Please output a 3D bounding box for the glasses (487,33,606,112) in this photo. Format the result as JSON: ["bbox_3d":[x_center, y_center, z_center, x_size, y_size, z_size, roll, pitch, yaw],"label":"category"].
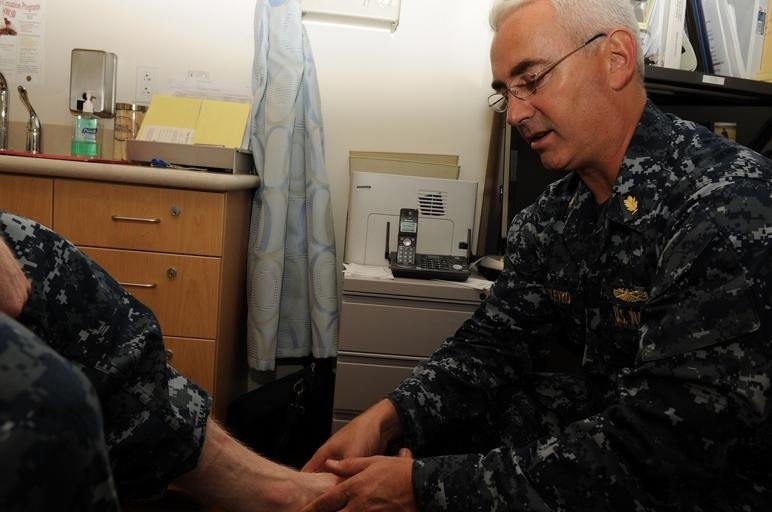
[{"bbox_3d":[0.381,-0.449,1.352,0.200,0.056,0.193,-37,7,-8],"label":"glasses"}]

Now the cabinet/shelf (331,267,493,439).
[{"bbox_3d":[0.011,0.215,2.069,0.657,0.660,0.444,4,11,-5],"label":"cabinet/shelf"}]

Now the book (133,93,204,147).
[{"bbox_3d":[-0.798,-0.496,2.103,0.204,0.222,0.050,5,-18,-6],"label":"book"}]

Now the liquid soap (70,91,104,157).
[{"bbox_3d":[-1.098,-0.479,2.085,0.094,0.236,0.111,4,1,-20],"label":"liquid soap"}]

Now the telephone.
[{"bbox_3d":[0.116,-0.063,2.045,0.343,0.286,0.226,-2,15,13],"label":"telephone"}]

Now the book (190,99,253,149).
[{"bbox_3d":[-0.604,-0.485,2.121,0.189,0.214,0.047,6,-19,-5],"label":"book"}]
